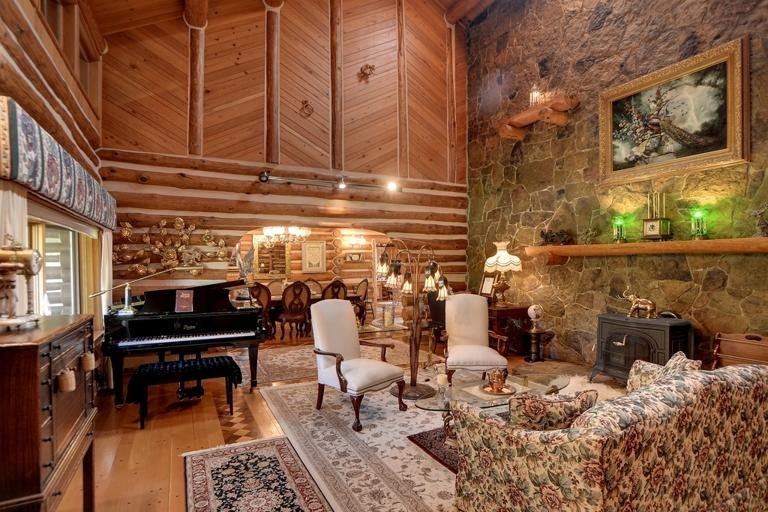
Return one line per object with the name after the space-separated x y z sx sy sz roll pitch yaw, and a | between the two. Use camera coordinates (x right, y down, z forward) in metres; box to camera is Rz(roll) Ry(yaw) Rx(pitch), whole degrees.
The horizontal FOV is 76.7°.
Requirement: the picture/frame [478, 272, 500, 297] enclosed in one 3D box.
2.016 0.554 9.202 0.070 0.581 0.503 20 -8 -29 | picture/frame

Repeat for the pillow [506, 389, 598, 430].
1.420 1.305 4.068 0.572 0.149 0.529 -7 -1 15 | pillow

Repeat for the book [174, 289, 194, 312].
-2.602 0.599 6.355 0.341 0.381 0.045 1 -21 -12 | book

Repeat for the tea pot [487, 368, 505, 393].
1.236 1.387 5.405 0.236 0.282 0.219 -2 0 0 | tea pot

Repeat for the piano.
-2.833 1.106 6.905 2.026 1.382 1.732 2 -10 -21 | piano

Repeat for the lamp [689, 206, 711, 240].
4.253 -0.433 6.531 0.182 0.404 0.314 3 13 11 | lamp

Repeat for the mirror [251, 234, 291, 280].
-2.830 0.028 12.146 1.362 1.351 0.128 1 -4 -24 | mirror

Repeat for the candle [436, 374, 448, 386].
0.642 1.338 5.248 0.155 0.109 0.143 1 -5 -6 | candle

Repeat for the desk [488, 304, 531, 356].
2.088 1.319 8.905 0.815 0.792 0.976 -1 0 -21 | desk

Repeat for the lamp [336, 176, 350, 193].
-0.797 -1.369 9.272 0.208 0.288 0.345 0 12 3 | lamp

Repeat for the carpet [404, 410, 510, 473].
0.581 2.066 5.237 0.733 0.029 0.782 -3 5 -32 | carpet

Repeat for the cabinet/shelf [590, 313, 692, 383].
3.302 1.157 6.180 0.564 0.850 1.076 6 -5 -20 | cabinet/shelf

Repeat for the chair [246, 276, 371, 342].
-1.385 0.963 8.619 1.532 0.805 0.476 0 1 -30 | chair

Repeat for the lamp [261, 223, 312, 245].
-2.503 -0.514 12.365 0.914 0.375 0.680 1 -4 -5 | lamp

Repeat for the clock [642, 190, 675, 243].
3.905 -0.556 6.899 0.398 0.683 0.404 10 17 35 | clock

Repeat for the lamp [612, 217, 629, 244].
3.560 -0.396 7.339 0.207 0.361 0.422 6 14 24 | lamp
